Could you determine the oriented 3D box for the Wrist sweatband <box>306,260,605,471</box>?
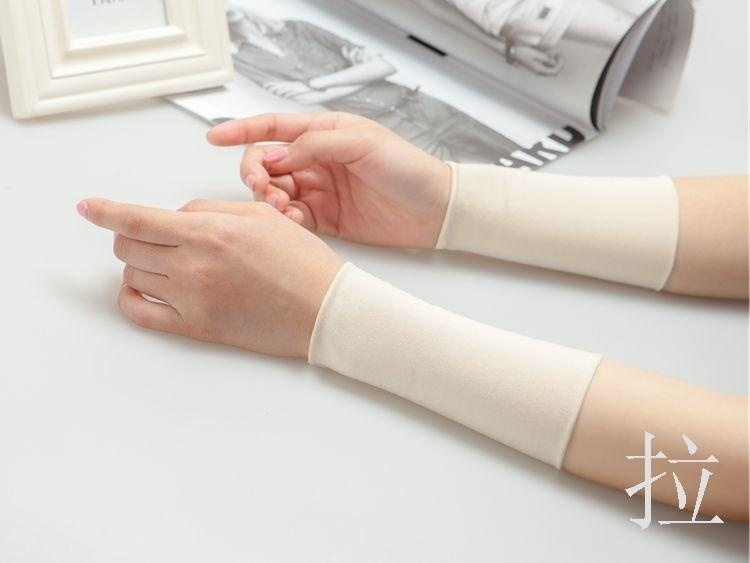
[{"bbox_3d":[0.088,0.107,0.696,0.322,0.124,0.154,21,76,13],"label":"Wrist sweatband"}]
